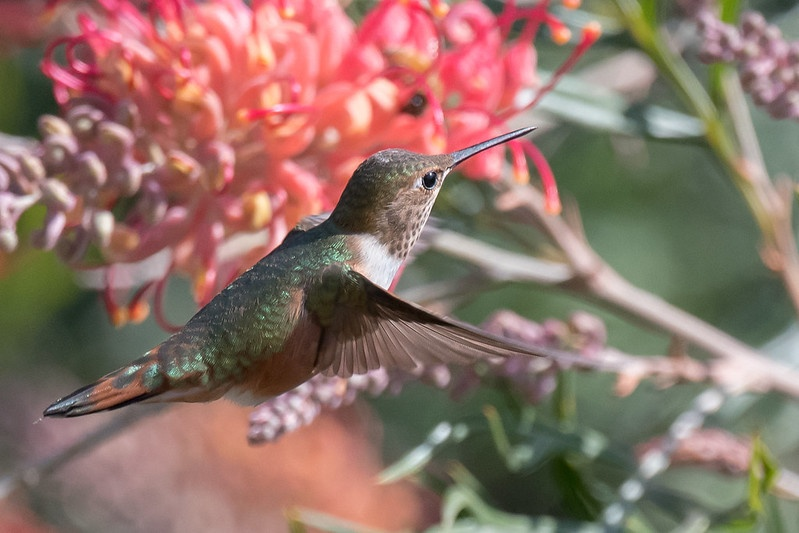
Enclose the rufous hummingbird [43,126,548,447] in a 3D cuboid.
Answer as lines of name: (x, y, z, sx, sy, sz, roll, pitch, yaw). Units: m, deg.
rufous hummingbird: (-0.106, 0.039, 0.997, 0.362, 0.182, 0.406, -1, 0, -11)
